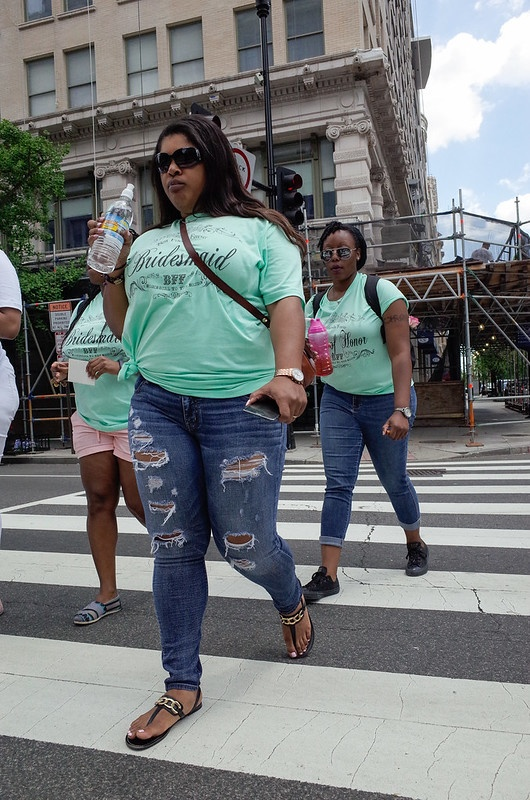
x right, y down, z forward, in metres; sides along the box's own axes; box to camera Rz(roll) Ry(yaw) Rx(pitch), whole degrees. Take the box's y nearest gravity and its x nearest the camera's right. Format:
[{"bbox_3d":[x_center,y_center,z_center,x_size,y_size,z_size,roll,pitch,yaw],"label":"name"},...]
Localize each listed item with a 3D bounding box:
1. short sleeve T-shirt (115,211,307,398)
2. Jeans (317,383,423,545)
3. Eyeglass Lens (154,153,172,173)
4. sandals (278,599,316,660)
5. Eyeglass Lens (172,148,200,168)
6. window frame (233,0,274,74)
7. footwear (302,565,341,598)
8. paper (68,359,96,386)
[{"bbox_3d":[-0.159,-0.290,2.312,0.591,0.536,0.312,-4,-15,11],"label":"short sleeve T-shirt"},{"bbox_3d":[0.536,0.345,3.884,0.576,0.846,0.519,-4,6,1],"label":"Jeans"},{"bbox_3d":[-0.330,-0.767,2.405,0.061,0.057,0.026,1,-3,1],"label":"Eyeglass Lens"},{"bbox_3d":[0.128,0.827,2.791,0.102,0.275,0.112,-14,-27,21],"label":"sandals"},{"bbox_3d":[-0.250,-0.766,2.360,0.070,0.028,0.068,1,24,-4],"label":"Eyeglass Lens"},{"bbox_3d":[-0.475,-9.717,20.093,0.653,1.774,0.789,-5,6,-1],"label":"window frame"},{"bbox_3d":[0.267,0.918,3.666,0.087,0.113,0.234,-10,-14,31],"label":"footwear"},{"bbox_3d":[-0.875,-0.129,3.598,0.149,0.128,0.040,5,3,35],"label":"paper"}]
